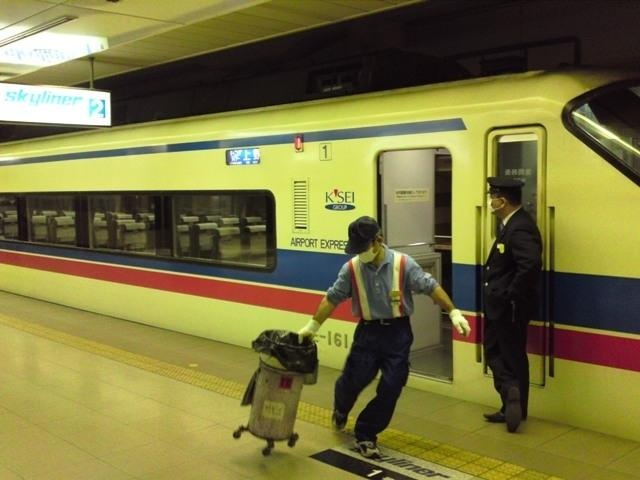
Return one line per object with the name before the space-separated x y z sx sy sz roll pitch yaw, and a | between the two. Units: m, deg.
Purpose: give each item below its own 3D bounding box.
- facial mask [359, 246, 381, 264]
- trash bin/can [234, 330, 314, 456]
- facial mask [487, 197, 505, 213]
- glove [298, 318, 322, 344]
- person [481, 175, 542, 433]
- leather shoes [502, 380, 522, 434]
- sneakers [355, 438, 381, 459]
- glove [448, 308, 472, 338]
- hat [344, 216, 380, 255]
facial mask | 0.387 0.113 4.056 0.127 0.079 0.139 -8 35 36
trash bin/can | -0.355 1.247 4.206 0.631 1.020 0.345 -3 7 -12
facial mask | 1.540 -0.307 4.544 0.132 0.101 0.116 -1 -4 16
glove | -0.094 0.712 4.193 0.133 0.222 0.064 27 25 -22
person | 1.651 0.554 4.469 0.383 2.169 0.493 -3 6 -7
leather shoes | 1.688 1.422 4.417 0.142 0.403 0.273 0 -10 2
sneakers | 0.385 1.667 4.146 0.109 0.081 0.203 -1 1 -32
glove | 1.042 0.621 3.914 0.132 0.184 0.296 0 7 11
hat | 0.323 -0.034 3.970 0.271 0.284 0.136 -2 7 2
